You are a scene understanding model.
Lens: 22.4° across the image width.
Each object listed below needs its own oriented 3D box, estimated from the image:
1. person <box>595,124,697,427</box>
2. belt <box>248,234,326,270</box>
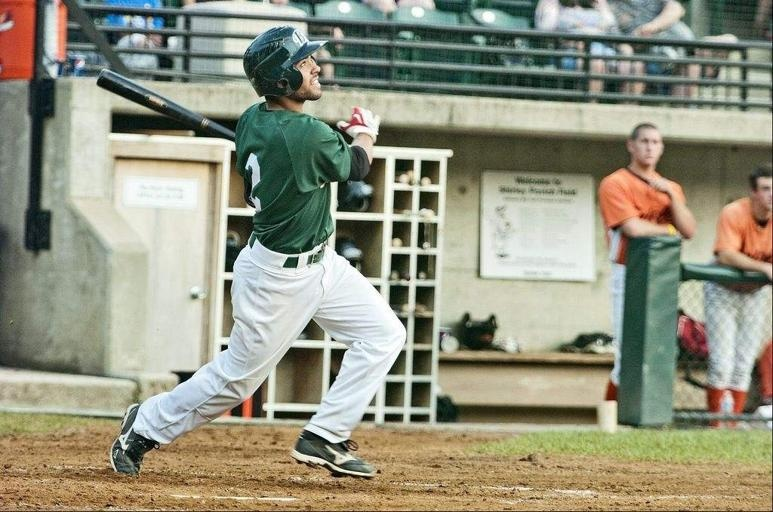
[{"bbox_3d":[2.234,0.090,17.039,0.797,2.673,1.461,3,-3,6],"label":"person"},{"bbox_3d":[-0.826,-0.030,15.909,0.651,0.267,0.190,3,-3,-5],"label":"belt"}]
